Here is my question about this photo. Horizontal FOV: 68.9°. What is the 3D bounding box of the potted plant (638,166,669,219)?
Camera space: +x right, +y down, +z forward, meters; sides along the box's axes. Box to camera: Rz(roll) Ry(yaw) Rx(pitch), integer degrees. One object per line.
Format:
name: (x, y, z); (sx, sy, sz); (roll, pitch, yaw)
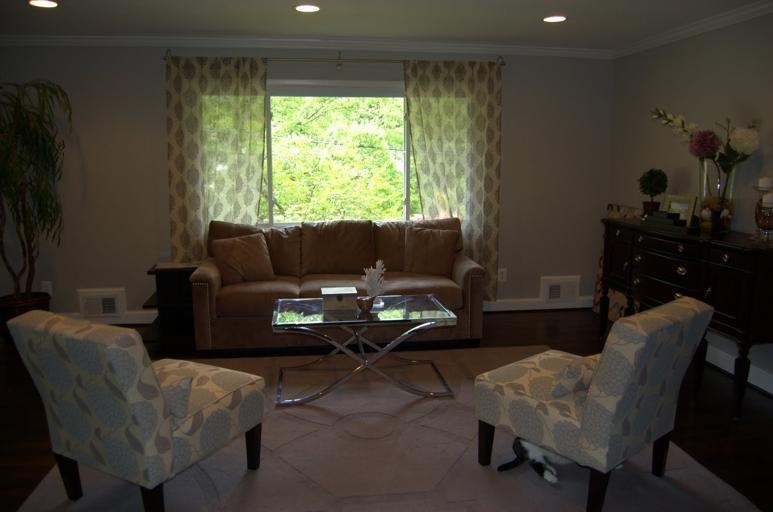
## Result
potted plant: (2.542, -0.604, 5.382); (0.244, 0.428, 0.233); (-2, 8, -11)

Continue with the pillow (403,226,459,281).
pillow: (0.437, -0.015, 5.741); (0.494, 0.514, 0.171); (4, -2, 17)

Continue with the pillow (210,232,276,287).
pillow: (-1.411, 0.031, 5.535); (0.545, 0.445, 0.319); (-4, 10, -20)

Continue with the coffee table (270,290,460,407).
coffee table: (-0.211, 0.686, 4.698); (1.445, 0.885, 0.802); (-3, 9, -10)

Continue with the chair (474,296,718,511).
chair: (1.369, 0.803, 4.064); (1.151, 1.679, 1.491); (-7, 12, -40)

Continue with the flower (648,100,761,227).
flower: (2.838, -0.807, 4.943); (0.539, 0.954, 0.782); (-4, 10, -18)

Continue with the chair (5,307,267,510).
chair: (-1.611, 0.851, 3.942); (1.119, 1.587, 1.442); (7, 12, 28)
